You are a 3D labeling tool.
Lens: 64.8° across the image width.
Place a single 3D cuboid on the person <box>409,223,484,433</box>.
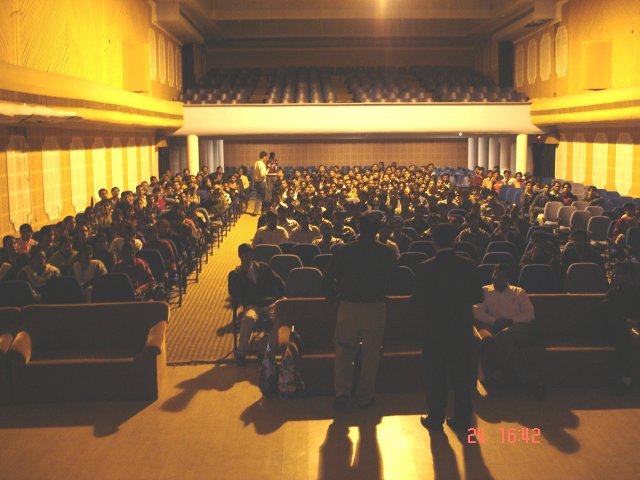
[{"bbox_3d":[1.181,0.828,4.738,0.608,1.850,0.564,4,14,19],"label":"person"}]
